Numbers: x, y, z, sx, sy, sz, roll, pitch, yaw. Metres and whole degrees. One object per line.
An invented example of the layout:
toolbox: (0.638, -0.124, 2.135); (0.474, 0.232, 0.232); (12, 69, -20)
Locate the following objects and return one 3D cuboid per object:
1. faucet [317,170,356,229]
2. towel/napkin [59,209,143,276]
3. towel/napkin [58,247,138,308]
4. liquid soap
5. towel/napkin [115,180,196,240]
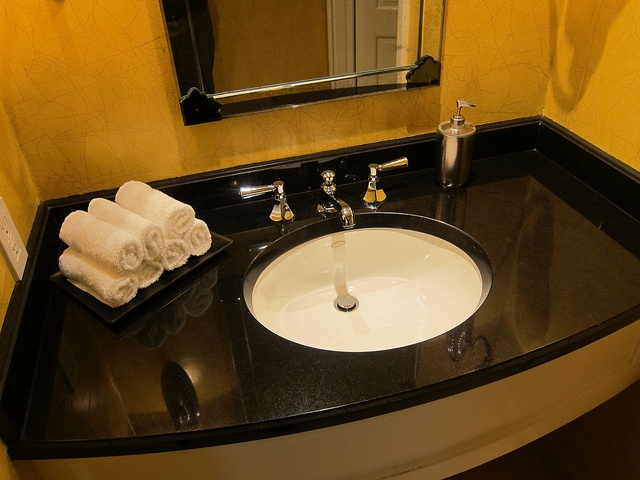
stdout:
faucet: (0.045, -0.122, 1.360); (0.059, 0.121, 0.169); (-19, 38, -16)
towel/napkin: (-0.516, 0.005, 1.132); (0.196, 0.095, 0.097); (21, 33, 26)
towel/napkin: (-0.512, 0.094, 1.098); (0.140, 0.060, 0.147); (30, 38, 15)
liquid soap: (0.403, -0.304, 1.405); (0.108, 0.275, 0.169); (9, 44, 17)
towel/napkin: (-0.409, -0.083, 1.171); (0.219, 0.102, 0.115); (26, 24, 25)
